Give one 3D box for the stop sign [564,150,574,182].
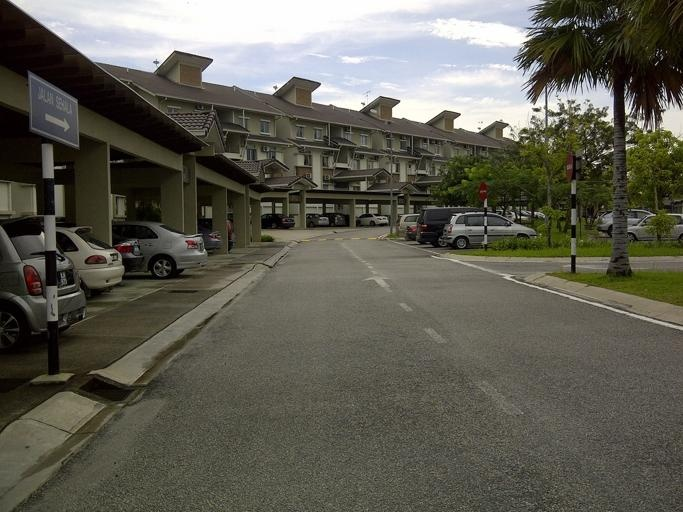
[{"bbox_3d":[6.591,-2.574,16.404,0.147,0.825,0.723,0,6,18],"label":"stop sign"}]
